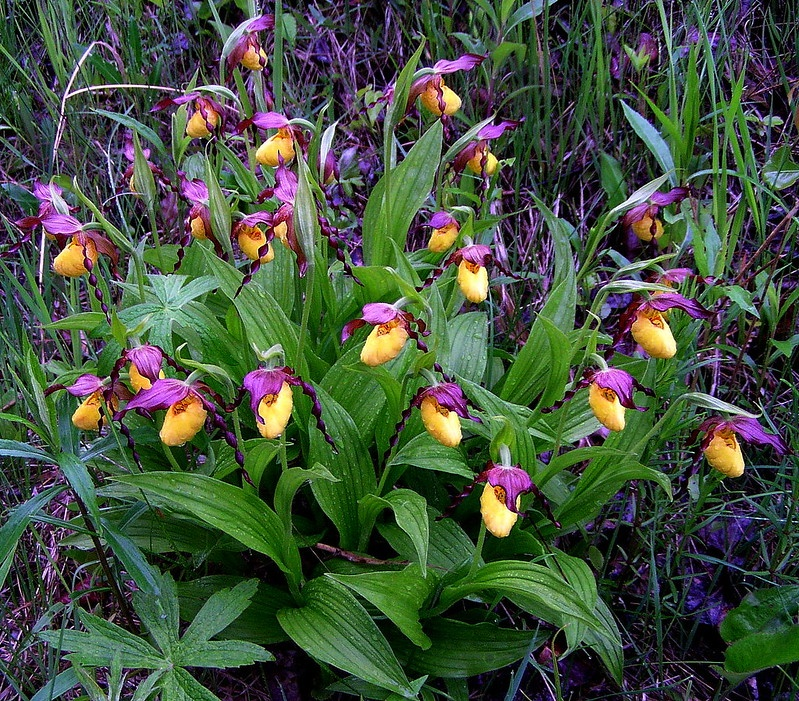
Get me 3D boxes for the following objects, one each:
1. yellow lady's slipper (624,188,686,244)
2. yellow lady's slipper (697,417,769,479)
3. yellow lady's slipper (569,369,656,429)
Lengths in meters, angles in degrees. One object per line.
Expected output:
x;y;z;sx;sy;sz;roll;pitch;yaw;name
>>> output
1.173;-0.559;3.279;0.213;0.145;0.291;6;72;34;yellow lady's slipper
1.314;0.335;2.828;0.201;0.256;0.115;15;13;21;yellow lady's slipper
0.774;0.175;2.669;0.217;0.145;0.182;16;57;12;yellow lady's slipper
